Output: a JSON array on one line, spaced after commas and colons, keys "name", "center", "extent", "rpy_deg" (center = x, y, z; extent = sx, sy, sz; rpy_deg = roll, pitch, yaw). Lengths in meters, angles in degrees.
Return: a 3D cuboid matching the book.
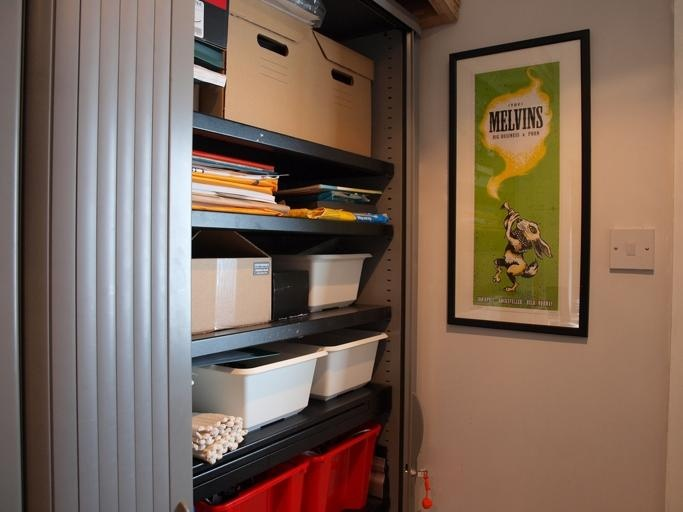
[{"name": "book", "center": [-0.202, -0.205, 1.705], "extent": [0.230, 0.166, 0.714], "rpy_deg": [1, 2, 28]}]
